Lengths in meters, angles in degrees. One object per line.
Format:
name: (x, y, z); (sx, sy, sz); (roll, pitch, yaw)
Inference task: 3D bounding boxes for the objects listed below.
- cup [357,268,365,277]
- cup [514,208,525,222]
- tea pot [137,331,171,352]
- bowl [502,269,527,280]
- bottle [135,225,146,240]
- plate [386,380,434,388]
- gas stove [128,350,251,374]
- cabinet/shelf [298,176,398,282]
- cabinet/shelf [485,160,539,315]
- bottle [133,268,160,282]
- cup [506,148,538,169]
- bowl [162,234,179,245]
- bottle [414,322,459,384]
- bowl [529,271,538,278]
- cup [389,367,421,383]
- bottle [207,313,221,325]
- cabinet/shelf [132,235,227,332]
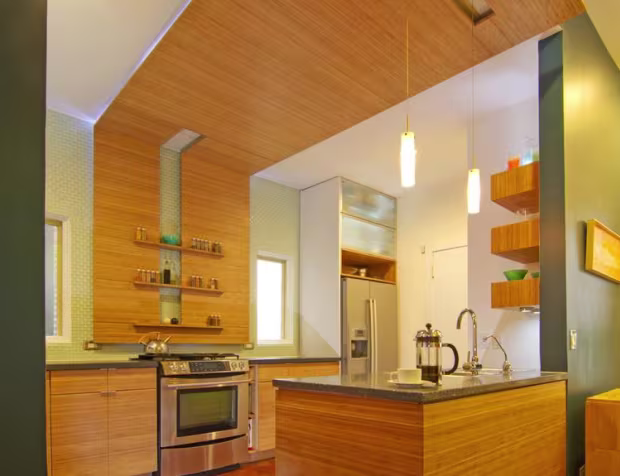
cup: (0.718, 0.471, 7.039); (0.114, 0.088, 0.151); (11, -15, -3)
cup: (1.855, -0.218, 4.435); (0.081, 0.090, 0.086); (1, -10, 0)
tea pot: (-1.436, 0.967, 4.712); (0.310, 0.210, 0.185); (4, -4, -39)
bowl: (1.692, 0.299, 4.156); (0.118, 0.046, 0.117); (1, -14, 0)
bottle: (-1.659, -0.056, 4.941); (0.040, 0.137, 0.119); (-10, -16, 36)
plate: (0.489, 0.723, 2.502); (0.301, 0.034, 0.259); (-8, -16, 29)
gas stove: (-1.011, 1.134, 4.539); (0.241, 0.190, 1.008); (-11, -18, 38)
cabinet/shelf: (0.470, -0.156, 6.846); (0.629, 1.292, 1.292); (-6, -8, 41)
cabinet/shelf: (1.684, 0.018, 4.157); (0.436, 1.124, 0.758); (-5, -14, 20)
bottle: (-1.589, 0.362, 4.902); (0.252, 0.152, 0.065); (11, -17, -39)
cup: (1.757, -0.653, 4.123); (0.137, 0.236, 0.230); (7, -9, -33)
bowl: (-1.425, 0.014, 5.164); (0.199, 0.121, 0.092); (11, -17, -38)
bottle: (0.661, 0.634, 2.804); (0.136, 0.317, 0.291); (-3, -14, 12)
bowl: (1.827, 0.294, 4.093); (0.053, 0.027, 0.052); (0, -10, 0)
cup: (0.482, 0.697, 2.557); (0.156, 0.073, 0.119); (-3, -8, 17)
bottle: (-1.038, 0.844, 5.384); (0.108, 0.146, 0.150); (3, -5, -32)
cabinet/shelf: (-1.371, 0.478, 5.123); (0.284, 0.890, 0.958); (-5, -8, 37)
